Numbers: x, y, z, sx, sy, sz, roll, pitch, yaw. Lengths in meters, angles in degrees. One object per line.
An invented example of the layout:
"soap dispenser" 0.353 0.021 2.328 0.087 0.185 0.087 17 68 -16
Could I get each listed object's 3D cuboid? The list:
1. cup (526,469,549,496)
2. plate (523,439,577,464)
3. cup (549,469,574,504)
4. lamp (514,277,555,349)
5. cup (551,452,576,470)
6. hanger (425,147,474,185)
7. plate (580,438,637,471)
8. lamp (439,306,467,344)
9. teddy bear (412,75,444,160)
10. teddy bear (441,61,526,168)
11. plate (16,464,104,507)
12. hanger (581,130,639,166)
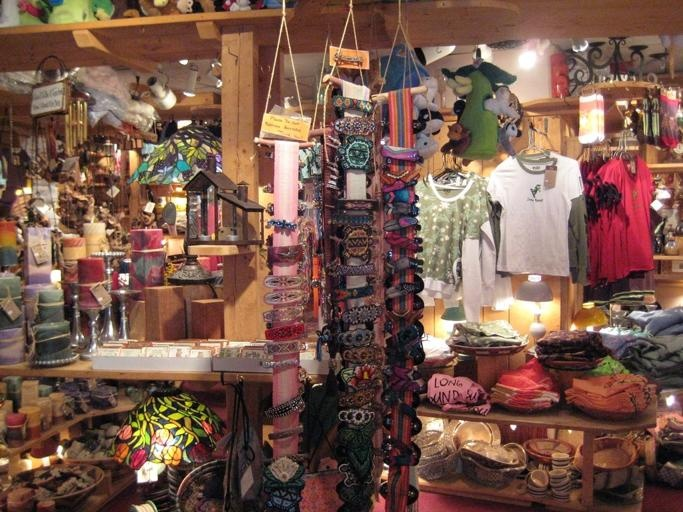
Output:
"cup" 1.408 1.622 4.452 0.114 0.090 0.156 -1 6 5
"plate" 1.585 1.466 4.735 0.204 0.062 0.209 -3 7 34
"cup" 1.545 1.593 4.334 0.164 0.190 0.193 -2 0 -41
"lamp" 1.542 0.416 4.937 0.288 0.513 0.344 -3 -1 18
"cup" 1.561 1.446 4.391 0.125 0.097 0.131 -2 -5 0
"hanger" 0.827 -0.671 4.651 0.382 0.238 0.083 0 -3 29
"plate" 2.045 1.444 4.635 0.326 0.114 0.308 -4 -6 38
"lamp" 0.890 0.525 4.923 0.182 0.259 0.459 -3 0 2
"teddy bear" 0.477 -0.803 3.471 0.155 0.426 0.422 -3 -1 11
"teddy bear" 0.958 -1.007 4.309 0.489 0.634 0.249 -3 -1 -1
"plate" -1.914 1.552 4.193 0.430 0.162 0.489 -3 0 38
"hanger" 2.250 -0.920 5.210 0.426 0.289 0.355 -3 -1 37
